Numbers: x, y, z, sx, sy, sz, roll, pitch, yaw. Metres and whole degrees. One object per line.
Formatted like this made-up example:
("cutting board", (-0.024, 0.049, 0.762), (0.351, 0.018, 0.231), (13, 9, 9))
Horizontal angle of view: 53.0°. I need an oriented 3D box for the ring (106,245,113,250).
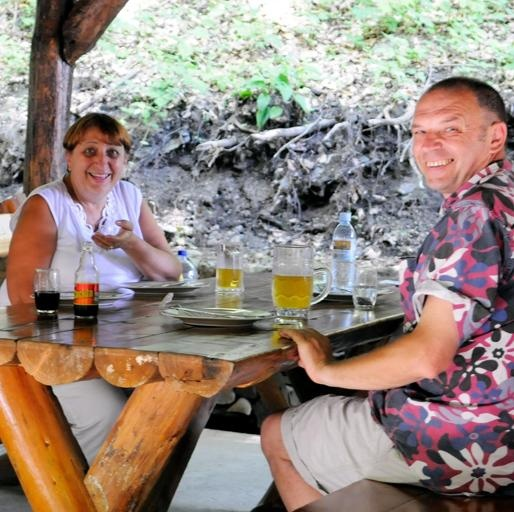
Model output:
("ring", (-0.610, -0.034, 2.109), (0.019, 0.011, 0.015), (1, 2, -3))
